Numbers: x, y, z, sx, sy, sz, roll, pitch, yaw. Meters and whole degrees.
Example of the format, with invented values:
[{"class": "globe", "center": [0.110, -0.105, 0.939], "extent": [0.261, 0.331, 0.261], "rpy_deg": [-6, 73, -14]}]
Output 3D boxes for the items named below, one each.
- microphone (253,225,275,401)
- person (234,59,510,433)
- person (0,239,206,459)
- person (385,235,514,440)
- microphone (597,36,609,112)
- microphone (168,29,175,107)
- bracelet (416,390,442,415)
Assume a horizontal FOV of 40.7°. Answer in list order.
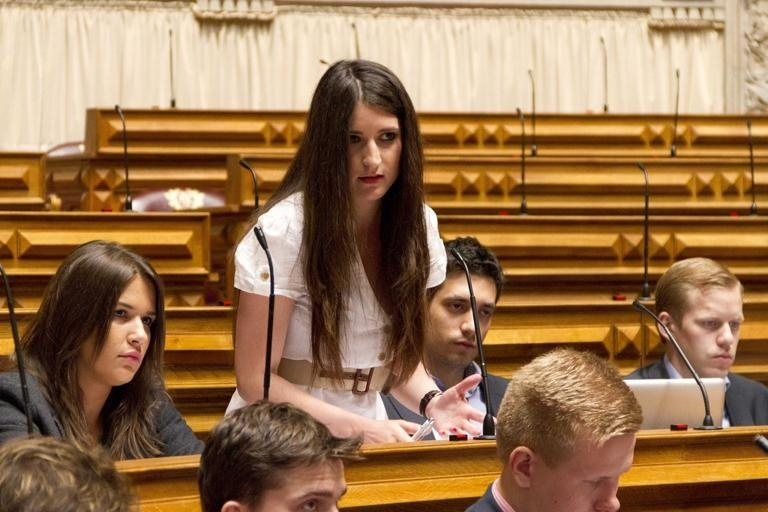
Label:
[{"class": "microphone", "center": [-0.576, 0.269, 5.051], "extent": [0.090, 0.839, 0.119], "rpy_deg": [-2, 5, -10]}, {"class": "person", "center": [-0.180, -0.014, 5.116], "extent": [1.193, 1.889, 0.378], "rpy_deg": [-2, 5, -12]}, {"class": "person", "center": [-1.540, 0.534, 5.668], "extent": [0.697, 1.362, 0.978], "rpy_deg": [-21, -14, 29]}, {"class": "person", "center": [0.325, 0.454, 5.598], "extent": [0.964, 0.950, 0.477], "rpy_deg": [4, -7, -36]}, {"class": "microphone", "center": [2.490, -2.077, 11.741], "extent": [0.094, 0.841, 0.172], "rpy_deg": [-1, 5, 3]}, {"class": "microphone", "center": [-2.292, -2.065, 11.136], "extent": [0.058, 0.738, 0.058], "rpy_deg": [-2, 5, -13]}, {"class": "bracelet", "center": [0.228, 0.740, 5.298], "extent": [0.042, 0.119, 0.112], "rpy_deg": [19, 21, 21]}]
